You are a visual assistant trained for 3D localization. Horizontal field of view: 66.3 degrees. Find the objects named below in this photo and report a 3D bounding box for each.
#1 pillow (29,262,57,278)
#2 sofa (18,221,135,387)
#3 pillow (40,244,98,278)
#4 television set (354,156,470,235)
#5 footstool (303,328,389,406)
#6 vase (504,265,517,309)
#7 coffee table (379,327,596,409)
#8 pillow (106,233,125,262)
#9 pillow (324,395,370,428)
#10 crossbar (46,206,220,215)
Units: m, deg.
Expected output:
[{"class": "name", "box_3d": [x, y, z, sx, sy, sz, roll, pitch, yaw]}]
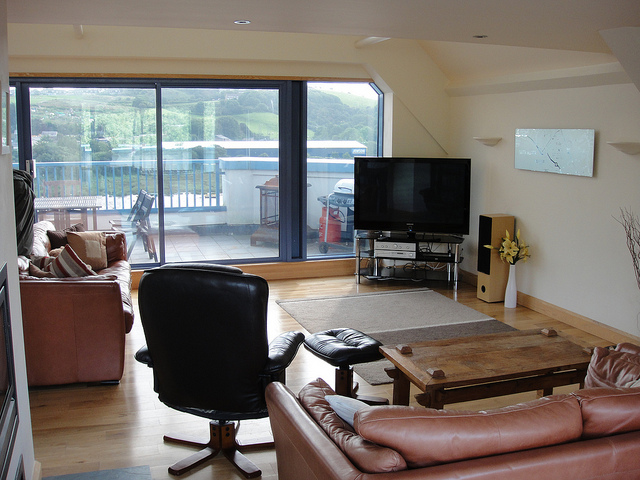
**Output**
[{"class": "pillow", "box_3d": [-2.500, 0.290, 4.376, 0.143, 0.061, 0.142, 10, 34, -20]}, {"class": "sofa", "box_3d": [-2.260, 0.626, 4.598, 0.902, 0.983, 1.593, -5, 13, -22]}, {"class": "pillow", "box_3d": [-2.290, 0.225, 4.425, 0.335, 0.318, 0.100, -46, 20, -16]}, {"class": "television set", "box_3d": [1.286, -0.586, 6.856, 1.640, 1.066, 0.078, 3, 20, 16]}, {"class": "footstool", "box_3d": [0.174, 0.948, 3.782, 0.620, 0.561, 0.657, 1, 12, -39]}, {"class": "vase", "box_3d": [2.423, 0.570, 6.100, 0.155, 0.546, 0.236, 5, 13, 22]}, {"class": "coffee table", "box_3d": [1.171, 0.905, 3.404, 1.576, 0.548, 0.755, -1, 5, -16]}, {"class": "pillow", "box_3d": [-2.503, 0.116, 5.972, 0.295, 0.385, 0.289, -1, 5, -12]}, {"class": "pillow", "box_3d": [0.117, 0.802, 2.287, 0.136, 0.039, 0.135, 20, -1, -19]}, {"class": "crossbar", "box_3d": [-2.355, -0.395, 6.887, 1.739, 0.154, 0.726, 0, 11, -34]}]
